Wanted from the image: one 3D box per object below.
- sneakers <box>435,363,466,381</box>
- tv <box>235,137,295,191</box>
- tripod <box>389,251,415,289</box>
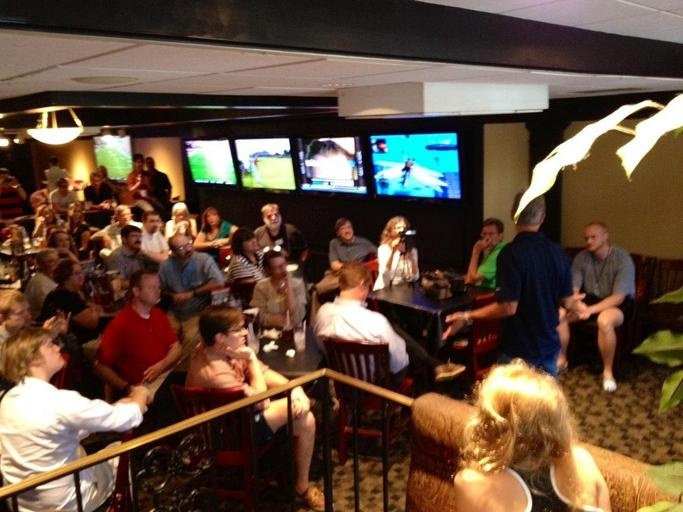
[{"bbox_3d":[1.001,1.070,4.658,0.284,0.127,0.107,-24,20,-24],"label":"sneakers"},{"bbox_3d":[-1.499,-1.799,10.027,1.538,1.043,0.055,6,15,32],"label":"tv"},{"bbox_3d":[0.715,0.156,5.675,0.364,0.485,0.344,0,3,8],"label":"tripod"}]
